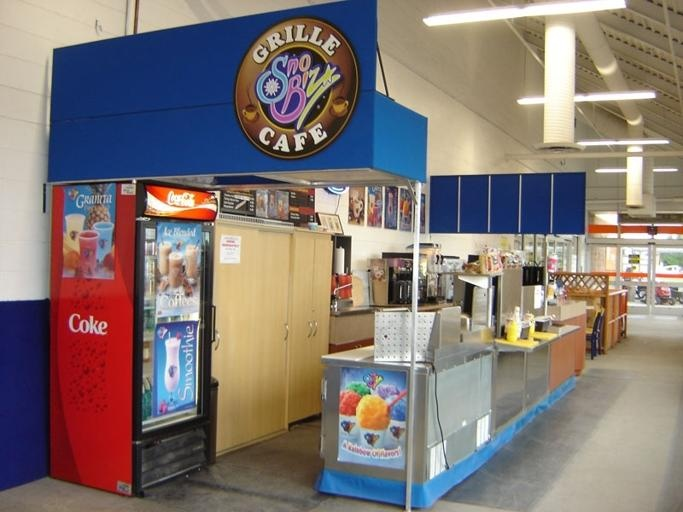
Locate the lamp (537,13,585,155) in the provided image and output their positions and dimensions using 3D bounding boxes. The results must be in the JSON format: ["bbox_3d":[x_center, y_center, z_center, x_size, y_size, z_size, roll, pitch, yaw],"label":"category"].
[{"bbox_3d":[3.412,-2.685,8.889,0.488,1.947,0.331,1,1,13],"label":"lamp"}]

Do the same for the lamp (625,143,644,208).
[{"bbox_3d":[8.399,-2.121,16.422,0.516,2.368,0.589,5,-32,20],"label":"lamp"}]

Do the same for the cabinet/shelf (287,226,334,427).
[{"bbox_3d":[-0.339,0.848,7.284,0.562,2.337,0.943,2,2,21],"label":"cabinet/shelf"}]

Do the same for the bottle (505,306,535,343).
[{"bbox_3d":[2.202,0.841,7.073,0.321,0.276,0.559,2,4,26],"label":"bottle"}]
